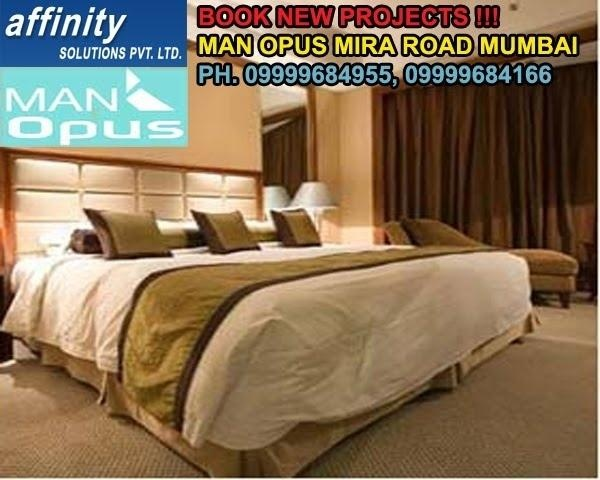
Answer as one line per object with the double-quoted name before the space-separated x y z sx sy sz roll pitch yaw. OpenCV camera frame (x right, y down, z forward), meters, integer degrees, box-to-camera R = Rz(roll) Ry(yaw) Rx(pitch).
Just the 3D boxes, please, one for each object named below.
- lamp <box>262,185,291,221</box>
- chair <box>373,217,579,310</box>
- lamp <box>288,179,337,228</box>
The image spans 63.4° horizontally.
"lamp" -0.259 -0.395 5.546 0.334 0.360 0.334 -4 -3 -43
"chair" 1.797 0.124 4.818 1.484 0.924 0.972 -2 -2 19
"lamp" 0.204 -0.399 5.747 0.477 0.617 0.490 -1 2 32
